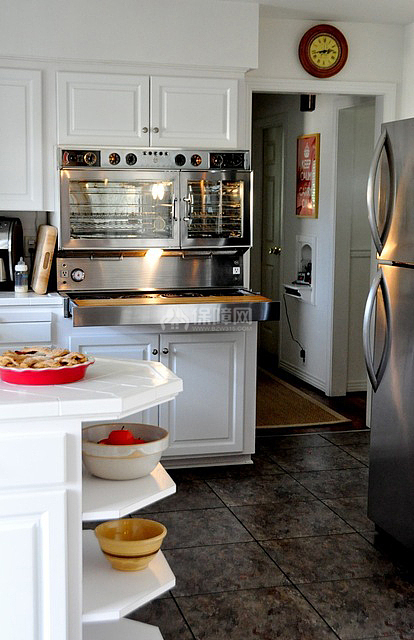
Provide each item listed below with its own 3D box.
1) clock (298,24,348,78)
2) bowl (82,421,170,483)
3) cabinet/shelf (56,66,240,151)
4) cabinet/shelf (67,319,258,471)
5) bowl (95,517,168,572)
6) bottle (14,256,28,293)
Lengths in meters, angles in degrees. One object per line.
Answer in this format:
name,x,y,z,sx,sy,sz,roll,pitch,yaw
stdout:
clock,0.729,-1.733,3.295,0.327,0.339,0.046,-3,7,-12
bowl,-0.191,0.307,1.204,0.203,0.092,0.207,1,3,0
cabinet/shelf,-0.335,-1.205,3.034,1.037,0.402,0.254,0,10,-1
cabinet/shelf,-0.157,0.261,2.184,0.838,0.750,0.352,-1,4,-14
bowl,-0.176,0.537,1.224,0.171,0.084,0.173,2,-5,0
bottle,-1.036,-0.247,2.872,0.063,0.193,0.075,-1,4,-23
